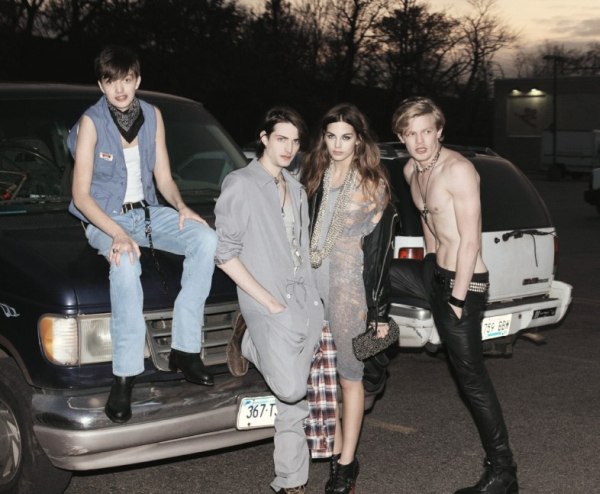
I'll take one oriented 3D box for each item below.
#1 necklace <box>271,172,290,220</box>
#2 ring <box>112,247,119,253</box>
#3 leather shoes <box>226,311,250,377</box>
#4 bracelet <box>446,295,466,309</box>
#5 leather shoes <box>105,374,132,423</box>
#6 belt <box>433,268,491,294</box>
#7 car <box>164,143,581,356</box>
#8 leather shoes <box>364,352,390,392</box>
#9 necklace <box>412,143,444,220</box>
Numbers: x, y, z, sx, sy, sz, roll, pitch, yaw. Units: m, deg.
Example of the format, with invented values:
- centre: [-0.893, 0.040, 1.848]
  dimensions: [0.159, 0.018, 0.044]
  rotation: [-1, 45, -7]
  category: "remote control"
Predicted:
- centre: [-0.104, -0.317, 3.069]
  dimensions: [0.055, 0.249, 0.131]
  rotation: [-11, -1, 29]
  category: "necklace"
- centre: [-1.017, 0.018, 2.736]
  dimensions: [0.023, 0.034, 0.011]
  rotation: [4, 53, 2]
  category: "ring"
- centre: [-0.383, 0.606, 3.103]
  dimensions: [0.118, 0.381, 0.144]
  rotation: [7, -10, -20]
  category: "leather shoes"
- centre: [1.040, 0.363, 3.284]
  dimensions: [0.113, 0.096, 0.050]
  rotation: [2, 13, 18]
  category: "bracelet"
- centre: [-0.936, 0.791, 2.652]
  dimensions: [0.097, 0.183, 0.263]
  rotation: [6, 29, -17]
  category: "leather shoes"
- centre: [1.080, 0.227, 3.358]
  dimensions: [0.212, 0.086, 0.213]
  rotation: [6, 0, -10]
  category: "belt"
- centre: [0.495, 0.025, 3.613]
  dimensions: [2.314, 1.272, 1.406]
  rotation: [24, 20, 38]
  category: "car"
- centre: [0.556, 0.896, 3.567]
  dimensions: [0.201, 0.279, 0.277]
  rotation: [5, -15, 15]
  category: "leather shoes"
- centre: [0.884, -0.434, 3.412]
  dimensions: [0.228, 0.438, 0.115]
  rotation: [-6, 5, 20]
  category: "necklace"
